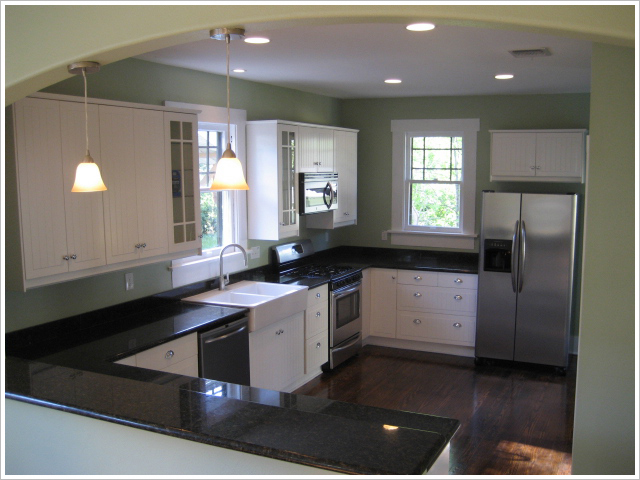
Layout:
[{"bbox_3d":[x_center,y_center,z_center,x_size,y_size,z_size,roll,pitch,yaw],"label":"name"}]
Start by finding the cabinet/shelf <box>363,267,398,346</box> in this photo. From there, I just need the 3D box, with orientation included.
[{"bbox_3d":[0.707,0.766,5.824,0.416,0.869,0.222,1,6,2],"label":"cabinet/shelf"}]

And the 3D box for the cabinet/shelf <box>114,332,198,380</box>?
[{"bbox_3d":[-1.104,0.722,3.342,0.289,0.338,0.507,1,3,20],"label":"cabinet/shelf"}]

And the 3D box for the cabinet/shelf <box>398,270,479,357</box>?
[{"bbox_3d":[1.383,0.775,5.802,0.902,0.825,0.447,2,8,15],"label":"cabinet/shelf"}]

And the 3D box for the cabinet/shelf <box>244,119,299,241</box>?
[{"bbox_3d":[-0.465,-0.579,4.845,0.520,1.134,0.303,0,6,-9],"label":"cabinet/shelf"}]

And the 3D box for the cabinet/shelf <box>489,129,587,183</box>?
[{"bbox_3d":[2.415,-0.925,5.377,0.836,0.507,0.297,2,5,24],"label":"cabinet/shelf"}]
